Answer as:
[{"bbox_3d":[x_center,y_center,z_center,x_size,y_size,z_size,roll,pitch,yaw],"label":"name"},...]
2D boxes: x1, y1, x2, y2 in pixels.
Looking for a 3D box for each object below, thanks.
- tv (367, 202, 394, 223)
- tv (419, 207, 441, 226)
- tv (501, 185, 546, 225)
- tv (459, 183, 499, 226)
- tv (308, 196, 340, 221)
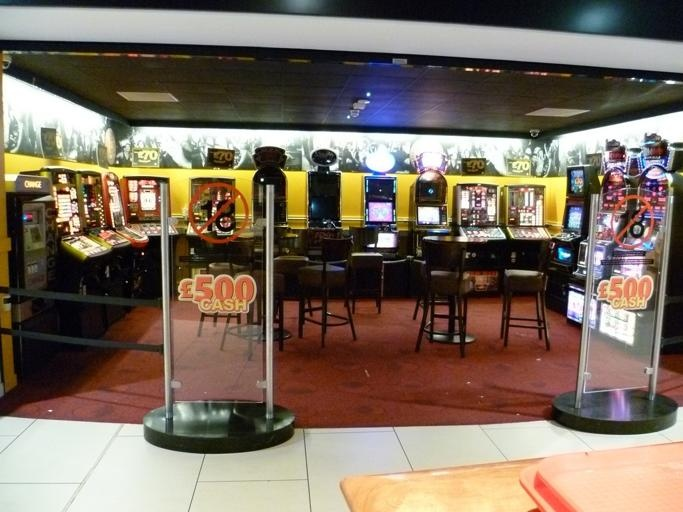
[{"bbox_3d":[0.670,-0.761,9.036,0.372,0.257,0.050,0,-3,-3],"label":"tv"},{"bbox_3d":[1.539,-0.717,8.987,0.511,0.363,0.290,3,7,3],"label":"tv"},{"bbox_3d":[3.268,-0.913,9.470,0.894,0.858,0.651,0,1,3],"label":"tv"},{"bbox_3d":[2.428,-0.904,9.135,0.758,0.767,0.109,-2,9,-9],"label":"tv"},{"bbox_3d":[-0.294,-0.807,8.827,0.648,0.449,0.366,1,-5,-7],"label":"tv"}]
